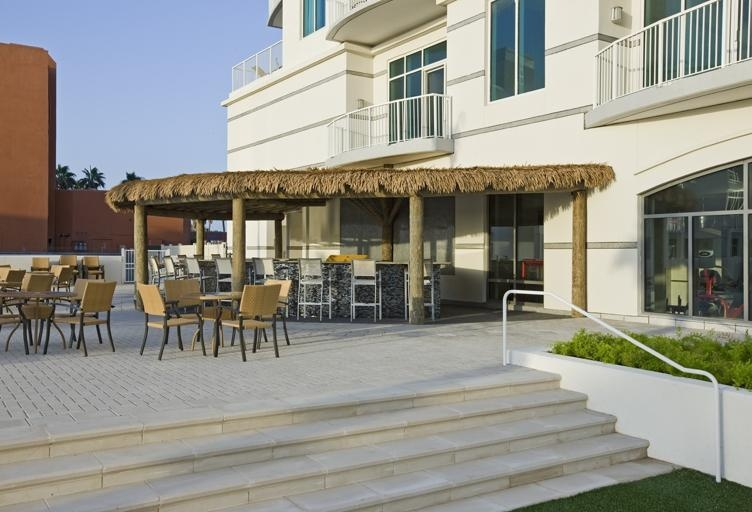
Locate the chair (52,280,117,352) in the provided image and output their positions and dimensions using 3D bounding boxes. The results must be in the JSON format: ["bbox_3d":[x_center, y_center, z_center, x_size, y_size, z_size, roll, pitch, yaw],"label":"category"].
[{"bbox_3d":[-5.096,1.035,11.225,0.940,1.158,0.867,0,-1,28],"label":"chair"}]

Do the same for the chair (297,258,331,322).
[{"bbox_3d":[-1.509,0.810,15.629,0.831,1.442,1.382,-2,-2,-7],"label":"chair"}]

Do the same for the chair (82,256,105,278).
[{"bbox_3d":[-10.878,0.413,24.790,0.878,1.115,0.983,2,-5,-37],"label":"chair"}]

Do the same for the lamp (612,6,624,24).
[{"bbox_3d":[5.643,-5.626,15.028,0.431,0.282,0.166,-1,-2,-31],"label":"lamp"}]

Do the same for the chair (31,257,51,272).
[{"bbox_3d":[-11.907,0.305,22.898,0.542,0.620,0.587,0,-2,-32],"label":"chair"}]

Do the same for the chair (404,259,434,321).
[{"bbox_3d":[1.046,0.762,15.405,0.796,1.187,0.739,3,6,27],"label":"chair"}]

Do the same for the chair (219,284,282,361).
[{"bbox_3d":[-2.163,1.083,11.055,1.034,1.196,0.977,-1,-2,31],"label":"chair"}]

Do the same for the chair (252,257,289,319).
[{"bbox_3d":[-2.553,0.753,15.344,0.900,1.361,0.779,8,1,14],"label":"chair"}]

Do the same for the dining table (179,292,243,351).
[{"bbox_3d":[-2.704,1.233,11.767,1.161,1.178,1.141,0,-1,-44],"label":"dining table"}]

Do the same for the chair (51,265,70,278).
[{"bbox_3d":[-8.410,0.432,17.203,0.359,0.435,0.381,2,-4,11],"label":"chair"}]

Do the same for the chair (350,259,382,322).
[{"bbox_3d":[-0.239,0.818,15.341,0.750,1.425,1.219,-2,-2,0],"label":"chair"}]

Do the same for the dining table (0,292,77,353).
[{"bbox_3d":[-6.164,1.076,11.674,1.384,1.068,1.532,2,-3,-32],"label":"dining table"}]
